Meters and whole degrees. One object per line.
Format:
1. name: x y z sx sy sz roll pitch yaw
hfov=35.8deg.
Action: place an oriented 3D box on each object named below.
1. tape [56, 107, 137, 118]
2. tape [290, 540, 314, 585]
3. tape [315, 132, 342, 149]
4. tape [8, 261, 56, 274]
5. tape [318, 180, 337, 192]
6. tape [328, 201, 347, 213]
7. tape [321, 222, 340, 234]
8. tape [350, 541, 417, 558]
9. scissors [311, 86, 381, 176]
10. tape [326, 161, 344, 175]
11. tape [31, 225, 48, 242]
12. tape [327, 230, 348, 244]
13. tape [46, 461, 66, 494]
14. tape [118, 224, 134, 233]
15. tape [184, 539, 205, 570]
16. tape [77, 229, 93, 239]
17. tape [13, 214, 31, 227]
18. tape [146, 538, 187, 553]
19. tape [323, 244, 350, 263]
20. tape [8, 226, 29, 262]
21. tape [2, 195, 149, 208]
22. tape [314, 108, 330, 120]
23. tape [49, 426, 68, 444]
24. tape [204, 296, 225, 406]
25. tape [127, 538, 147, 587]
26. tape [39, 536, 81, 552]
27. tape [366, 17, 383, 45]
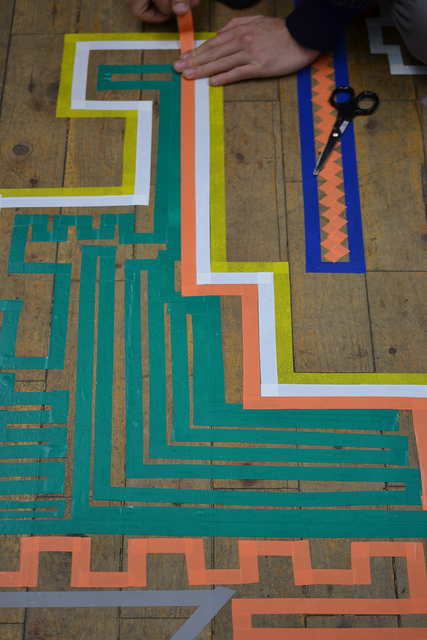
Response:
1. tape: -0.265 -0.449 1.453 0.139 0.010 0.020 0 83 0
2. tape: 0.160 0.429 1.187 0.034 0.002 0.081 -1 42 1
3. tape: 0.247 -0.382 1.433 0.002 0.060 0.024 20 93 -36
4. tape: -0.371 -0.100 1.343 0.125 0.006 0.020 -1 85 1
5. tape: 0.243 -0.279 1.402 0.026 0.003 0.023 34 82 11
6. tape: 0.263 -0.235 1.389 0.026 0.007 0.025 -44 73 -12
7. tape: 0.244 -0.188 1.376 0.023 0.006 0.022 39 83 5
8. tape: 0.309 0.406 1.202 0.099 0.003 0.030 -1 79 -6
9. scissors: 0.291 -0.428 1.439 0.112 0.028 0.251 27 71 13
10. tape: 0.261 -0.321 1.417 0.023 0.007 0.025 -41 80 -10
11. tape: -0.365 -0.175 1.373 0.034 0.008 0.032 2 84 -4
12. tape: 0.259 -0.169 1.371 0.025 0.006 0.025 37 81 7
13. tape: -0.293 0.290 1.225 0.046 0.011 0.050 0 79 4
14. tape: -0.180 -0.186 1.366 0.030 0.004 0.019 0 63 -1
15. tape: -0.033 0.417 1.185 0.033 0.011 0.050 -3 63 -2
16. tape: -0.268 -0.175 1.366 0.023 0.005 0.021 0 77 3
17. tape: -0.401 -0.204 1.378 0.033 0.006 0.028 2 63 1
18. tape: -0.087 0.406 1.218 0.072 0.004 0.023 -1 83 -2
19. tape: 0.255 -0.136 1.361 0.028 0.011 0.043 40 83 5
20. tape: -0.402 -0.153 1.361 0.032 0.012 0.077 2 63 1
21. tape: -0.290 -0.246 1.387 0.308 0.017 0.024 1 63 0
22. tape: 0.242 -0.447 1.453 0.023 0.006 0.021 -43 81 1
23. tape: -0.292 0.216 1.245 0.033 0.008 0.031 -1 63 -1
24. tape: 0.010 0.041 1.313 0.067 0.003 0.288 24 41 -32
25. tape: -0.136 0.430 1.183 0.035 0.018 0.078 -2 63 -1
26. tape: -0.285 0.400 1.195 0.049 0.011 0.026 2 75 2
27. tape: 0.375 -0.661 1.530 0.031 0.011 0.078 -2 63 -1
